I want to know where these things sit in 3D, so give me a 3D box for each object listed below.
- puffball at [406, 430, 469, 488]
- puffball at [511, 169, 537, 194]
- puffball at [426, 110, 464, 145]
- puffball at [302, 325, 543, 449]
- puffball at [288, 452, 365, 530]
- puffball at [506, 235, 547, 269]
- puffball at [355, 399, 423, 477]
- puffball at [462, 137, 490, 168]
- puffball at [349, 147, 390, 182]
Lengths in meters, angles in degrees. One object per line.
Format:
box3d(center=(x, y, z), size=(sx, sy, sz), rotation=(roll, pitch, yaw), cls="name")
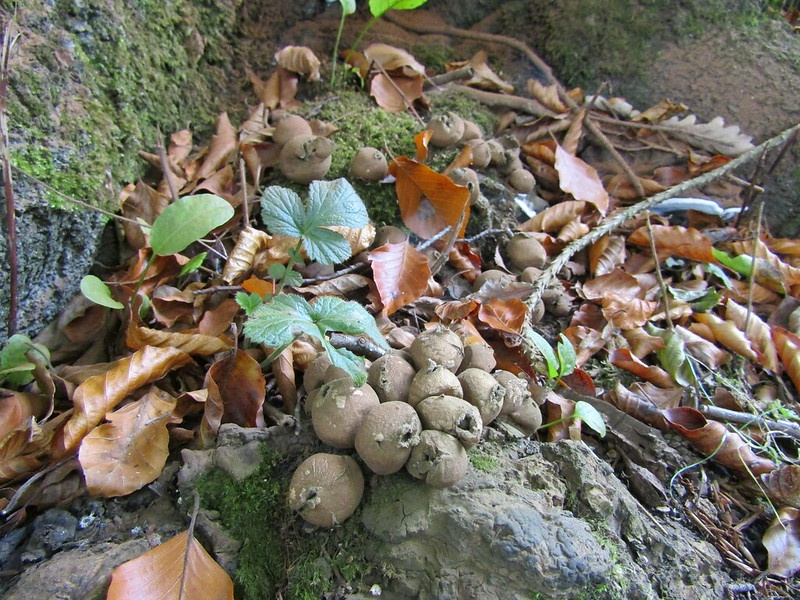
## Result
box3d(center=(0.128, 0.593, 2.136), size=(0.193, 0.112, 0.190), rotation=(-9, 43, -21), cls="puffball")
box3d(center=(0.760, -0.731, 3.713), size=(0.146, 0.085, 0.155), rotation=(-20, 76, -30), cls="puffball")
box3d(center=(0.254, -1.009, 3.480), size=(0.181, 0.134, 0.194), rotation=(-20, 25, -30), cls="puffball")
box3d(center=(0.090, 0.305, 2.278), size=(0.604, 0.290, 0.562), rotation=(10, 14, -3), cls="puffball")
box3d(center=(-0.264, 0.684, 2.167), size=(0.271, 0.125, 0.234), rotation=(12, 60, -11), cls="puffball")
box3d(center=(0.694, -0.262, 3.338), size=(0.210, 0.171, 0.161), rotation=(16, 16, 30), cls="puffball")
box3d(center=(-0.053, 0.496, 2.156), size=(0.216, 0.220, 0.227), rotation=(26, 58, -1), cls="puffball")
box3d(center=(0.461, -0.864, 3.482), size=(0.158, 0.149, 0.182), rotation=(-10, 103, -31), cls="puffball")
box3d(center=(-0.169, -0.740, 3.245), size=(0.183, 0.181, 0.188), rotation=(-13, 59, -34), cls="puffball")
